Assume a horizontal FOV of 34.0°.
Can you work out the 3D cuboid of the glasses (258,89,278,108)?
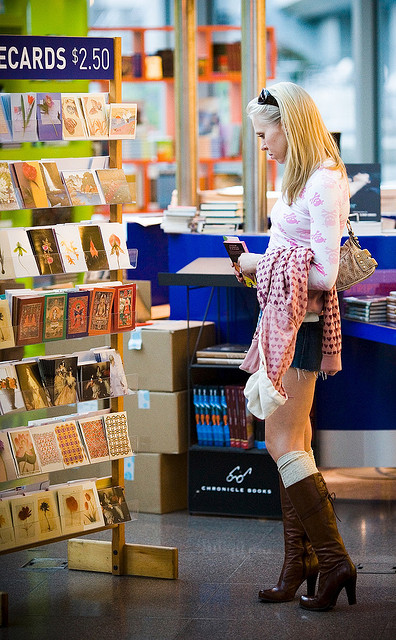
[{"bbox_3d":[0.201,-0.640,1.885,0.041,0.032,0.094,21,9,-13],"label":"glasses"}]

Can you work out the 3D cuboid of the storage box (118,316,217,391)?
[{"bbox_3d":[-0.180,0.177,3.410,0.362,0.275,0.376,2,6,28],"label":"storage box"}]

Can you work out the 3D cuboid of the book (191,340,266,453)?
[{"bbox_3d":[0.154,0.371,3.411,0.420,0.577,0.594,-1,5,10],"label":"book"}]

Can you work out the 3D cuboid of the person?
[{"bbox_3d":[0.299,0.109,1.947,0.342,1.598,0.497,-2,-3,3],"label":"person"}]
